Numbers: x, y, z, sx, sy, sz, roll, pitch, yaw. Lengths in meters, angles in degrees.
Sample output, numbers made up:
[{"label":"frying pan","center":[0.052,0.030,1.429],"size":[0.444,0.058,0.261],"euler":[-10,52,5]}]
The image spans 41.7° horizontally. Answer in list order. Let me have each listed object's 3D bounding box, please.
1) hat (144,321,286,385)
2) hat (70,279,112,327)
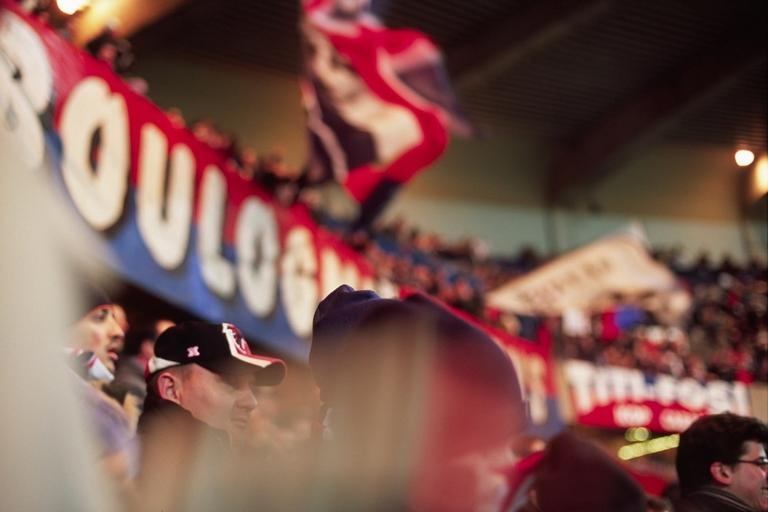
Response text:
[{"label":"hat","center":[-0.440,0.244,2.604],"size":[0.359,0.174,0.232],"euler":[-5,-12,6]},{"label":"hat","center":[-0.699,0.110,2.445],"size":[0.068,0.090,0.070],"euler":[19,55,13]}]
